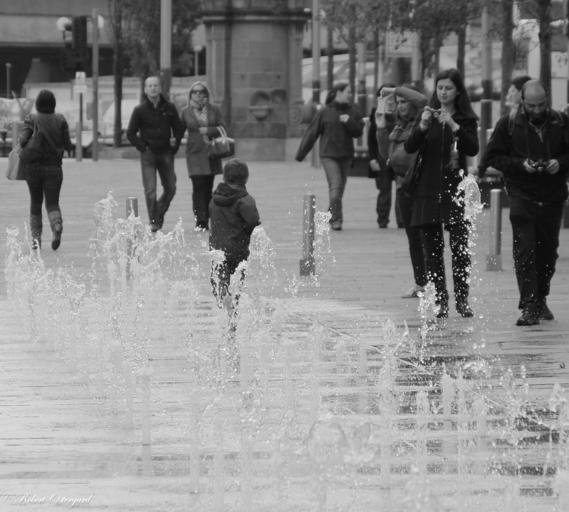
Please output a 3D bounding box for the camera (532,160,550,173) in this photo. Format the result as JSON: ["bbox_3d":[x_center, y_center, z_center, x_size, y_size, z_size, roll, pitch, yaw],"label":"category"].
[{"bbox_3d":[1.872,-0.624,12.702,0.080,0.090,0.033,2,1,1],"label":"camera"}]

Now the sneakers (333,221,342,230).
[{"bbox_3d":[0.572,-0.296,19.242,0.072,0.092,0.204,0,-3,-2],"label":"sneakers"}]

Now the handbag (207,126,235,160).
[{"bbox_3d":[-0.712,-1.219,18.841,0.336,0.205,0.457,-6,-31,-4],"label":"handbag"}]

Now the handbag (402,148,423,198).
[{"bbox_3d":[0.978,-0.608,13.202,0.074,0.279,0.189,20,-11,-20],"label":"handbag"}]

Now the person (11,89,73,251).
[{"bbox_3d":[-2.465,-0.826,17.357,0.635,1.568,1.063,-1,4,-8],"label":"person"}]

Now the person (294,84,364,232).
[{"bbox_3d":[0.520,-1.067,19.488,0.728,1.620,0.737,0,4,1],"label":"person"}]

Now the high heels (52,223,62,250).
[{"bbox_3d":[-2.201,-0.131,16.913,0.082,0.294,0.124,6,-3,-15],"label":"high heels"}]

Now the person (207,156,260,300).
[{"bbox_3d":[-0.387,-0.156,12.637,0.369,1.002,0.495,-1,4,-10],"label":"person"}]

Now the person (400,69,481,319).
[{"bbox_3d":[1.186,-0.435,13.173,0.546,1.867,0.356,0,4,4],"label":"person"}]

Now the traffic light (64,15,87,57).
[{"bbox_3d":[-4.429,-4.493,36.637,0.460,0.876,1.176,-1,5,-8],"label":"traffic light"}]

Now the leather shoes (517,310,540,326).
[{"bbox_3d":[1.808,0.491,12.913,0.078,0.092,0.207,-3,-7,29],"label":"leather shoes"}]

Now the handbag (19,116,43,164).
[{"bbox_3d":[-2.526,-1.116,17.277,0.287,0.410,0.142,7,0,26],"label":"handbag"}]

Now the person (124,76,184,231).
[{"bbox_3d":[-1.403,-1.048,18.838,0.610,1.642,0.571,0,4,-4],"label":"person"}]

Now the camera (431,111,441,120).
[{"bbox_3d":[1.142,-1.026,13.070,0.042,0.063,0.014,-5,-12,12],"label":"camera"}]

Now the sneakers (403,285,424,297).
[{"bbox_3d":[1.049,0.322,14.152,0.218,0.095,0.070,-10,16,-34],"label":"sneakers"}]
